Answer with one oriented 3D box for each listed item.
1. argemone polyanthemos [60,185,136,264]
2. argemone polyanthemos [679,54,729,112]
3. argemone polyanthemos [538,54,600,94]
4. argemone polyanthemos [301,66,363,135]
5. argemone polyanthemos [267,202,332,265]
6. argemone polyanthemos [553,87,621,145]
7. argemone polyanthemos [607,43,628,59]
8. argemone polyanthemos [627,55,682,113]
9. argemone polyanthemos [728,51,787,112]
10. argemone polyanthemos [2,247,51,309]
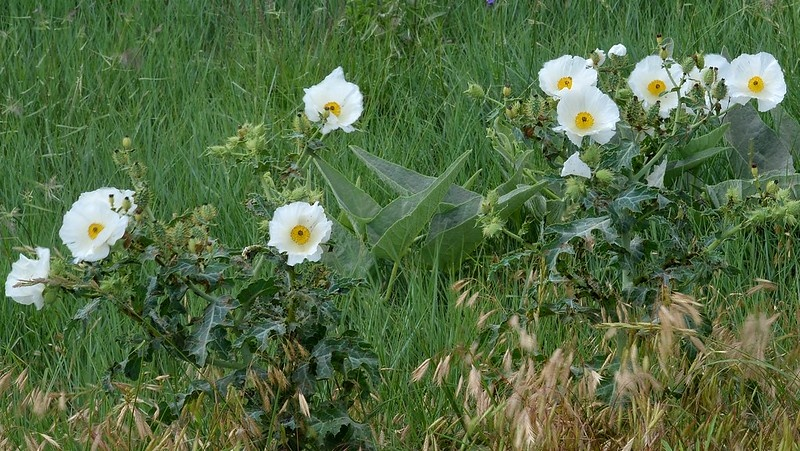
[{"bbox_3d":[-1.131,-0.015,3.549,0.255,0.279,0.117,-4,-23,31],"label":"argemone polyanthemos"},{"bbox_3d":[1.354,-0.595,4.102,0.199,0.292,0.474,6,24,16],"label":"argemone polyanthemos"},{"bbox_3d":[0.749,-0.632,4.009,0.254,0.178,0.314,-3,23,-5],"label":"argemone polyanthemos"},{"bbox_3d":[-0.269,-0.501,3.868,0.222,0.311,0.318,5,24,14],"label":"argemone polyanthemos"},{"bbox_3d":[-0.391,0.032,3.508,0.220,0.090,0.242,-22,56,-12],"label":"argemone polyanthemos"},{"bbox_3d":[0.782,-0.460,3.830,0.287,0.220,0.175,-3,23,-4],"label":"argemone polyanthemos"},{"bbox_3d":[0.989,-0.805,4.190,0.070,0.056,0.224,6,24,17],"label":"argemone polyanthemos"},{"bbox_3d":[1.100,-0.598,4.025,0.202,0.254,0.187,11,26,27],"label":"argemone polyanthemos"},{"bbox_3d":[1.518,-0.615,3.977,0.255,0.236,0.165,-1,23,0],"label":"argemone polyanthemos"},{"bbox_3d":[-1.430,0.206,3.556,0.192,0.227,0.109,6,24,16],"label":"argemone polyanthemos"}]
